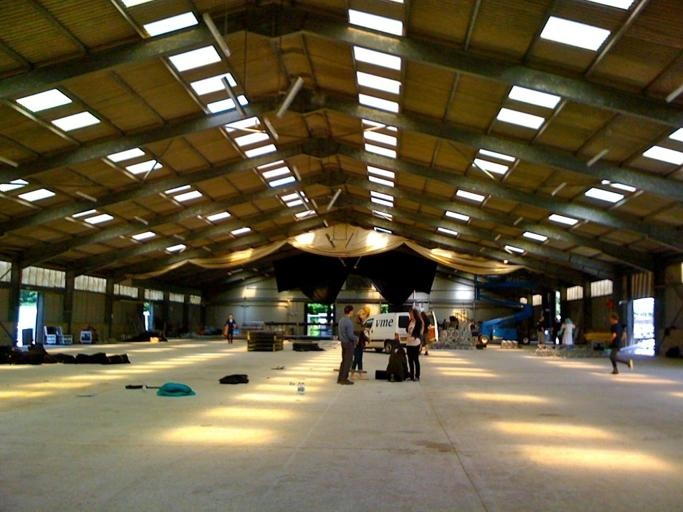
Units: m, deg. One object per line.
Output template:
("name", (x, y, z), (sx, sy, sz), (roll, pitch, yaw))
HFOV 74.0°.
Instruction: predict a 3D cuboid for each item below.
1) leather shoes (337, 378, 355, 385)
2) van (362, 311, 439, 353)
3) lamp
("leather shoes", (0.116, 3.510, 12.632), (0.481, 0.178, 0.150), (-2, -9, 0))
("van", (2.973, 4.880, 28.349), (2.699, 2.072, 4.385), (9, -12, -34))
("lamp", (-2.509, -5.328, 13.125), (2.537, 0.780, 3.359), (19, -33, 13))
